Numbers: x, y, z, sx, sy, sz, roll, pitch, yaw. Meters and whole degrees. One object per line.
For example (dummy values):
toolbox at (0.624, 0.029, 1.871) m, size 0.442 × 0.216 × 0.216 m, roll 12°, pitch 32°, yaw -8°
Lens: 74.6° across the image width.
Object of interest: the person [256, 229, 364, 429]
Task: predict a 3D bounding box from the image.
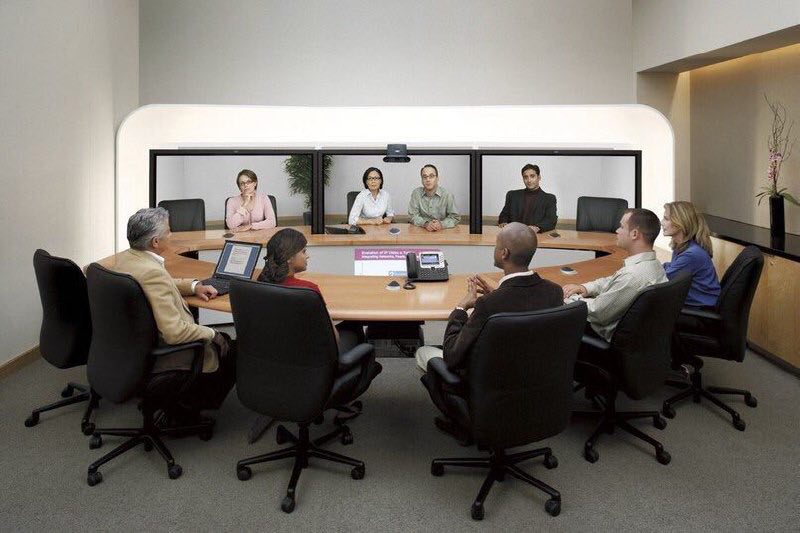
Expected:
person at (-0.643, 0.500, 3.769) m, size 0.626 × 1.562 × 1.000 m, roll 1°, pitch 12°, yaw 10°

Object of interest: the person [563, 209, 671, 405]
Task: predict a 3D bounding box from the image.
person at (1.557, 0.105, 3.881) m, size 0.654 × 1.014 × 0.748 m, roll 8°, pitch 15°, yaw 37°

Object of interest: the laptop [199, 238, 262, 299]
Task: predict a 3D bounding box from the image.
laptop at (-1.363, 0.074, 4.255) m, size 0.469 × 0.403 × 0.534 m, roll 7°, pitch 14°, yaw 21°

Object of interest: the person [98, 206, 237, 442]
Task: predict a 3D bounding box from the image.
person at (-1.596, 0.434, 3.743) m, size 0.682 × 1.671 × 0.676 m, roll -10°, pitch 15°, yaw -40°

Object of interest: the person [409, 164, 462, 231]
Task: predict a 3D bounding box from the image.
person at (0.406, -0.853, 6.442) m, size 0.790 × 0.760 × 0.822 m, roll 1°, pitch 13°, yaw 9°

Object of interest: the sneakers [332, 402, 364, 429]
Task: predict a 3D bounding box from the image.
sneakers at (-0.409, 1.125, 4.123) m, size 0.127 × 0.166 × 0.414 m, roll 4°, pitch 14°, yaw 10°

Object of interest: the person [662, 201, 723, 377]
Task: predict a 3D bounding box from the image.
person at (2.443, -0.099, 4.404) m, size 0.472 × 0.856 × 0.420 m, roll 7°, pitch 14°, yaw 33°

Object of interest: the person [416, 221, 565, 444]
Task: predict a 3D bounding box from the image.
person at (0.514, 0.546, 3.439) m, size 0.632 × 1.654 × 0.961 m, roll -11°, pitch 15°, yaw -40°
